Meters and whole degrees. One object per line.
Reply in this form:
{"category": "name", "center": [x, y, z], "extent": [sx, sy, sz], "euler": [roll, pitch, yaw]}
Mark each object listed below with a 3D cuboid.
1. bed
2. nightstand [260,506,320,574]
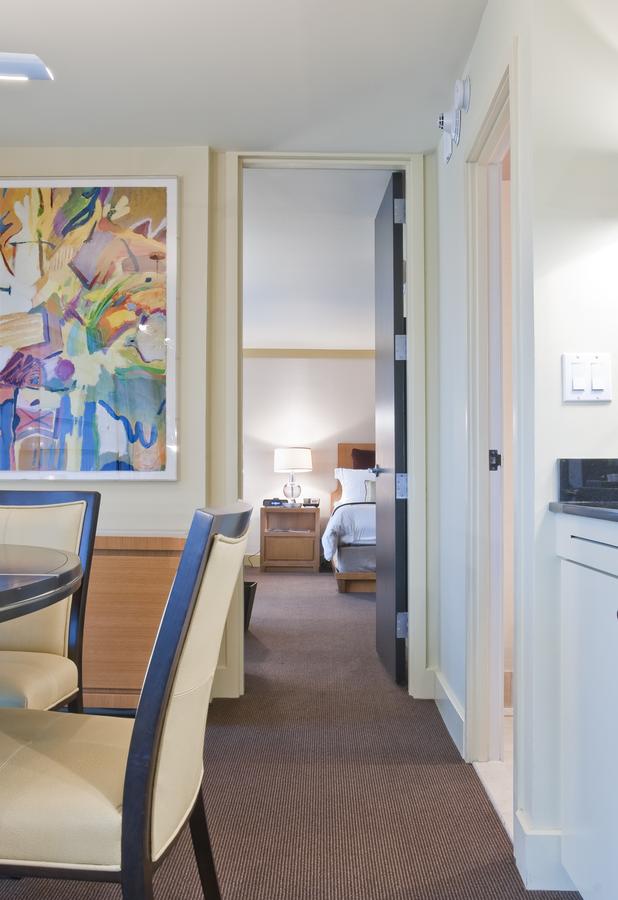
{"category": "bed", "center": [0.369, 0.630, 5.642], "extent": [0.362, 0.814, 1.253], "euler": [-1, 2, 0]}
{"category": "nightstand", "center": [-0.184, 0.882, 6.184], "extent": [0.447, 0.683, 0.537], "euler": [0, 2, 2]}
